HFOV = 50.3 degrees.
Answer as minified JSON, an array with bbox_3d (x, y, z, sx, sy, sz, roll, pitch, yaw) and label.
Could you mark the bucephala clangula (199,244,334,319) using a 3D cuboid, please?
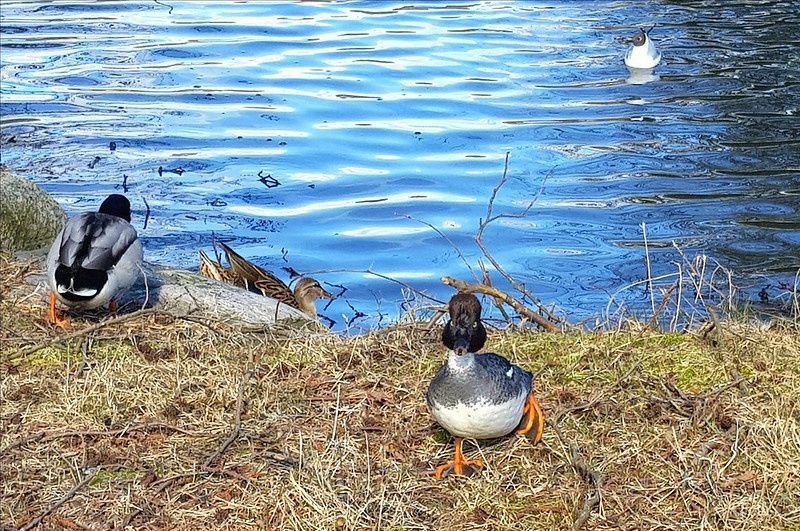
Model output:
[{"bbox_3d":[-1.590,0.226,10.450,1.398,0.704,0.428,27,16,-16],"label":"bucephala clangula"}]
